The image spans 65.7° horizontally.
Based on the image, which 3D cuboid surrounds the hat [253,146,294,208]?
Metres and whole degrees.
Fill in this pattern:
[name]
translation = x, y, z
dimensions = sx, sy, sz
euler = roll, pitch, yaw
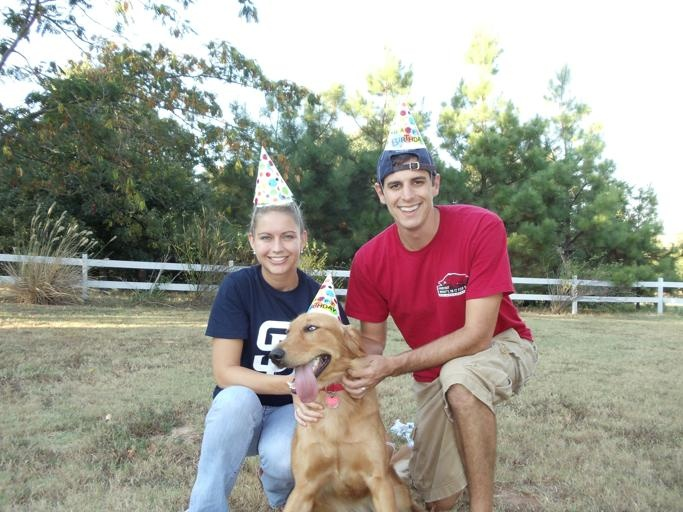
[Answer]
[hat]
translation = -0.627, -0.716, 4.929
dimensions = 0.357, 0.627, 0.499
euler = 2, -3, -9
